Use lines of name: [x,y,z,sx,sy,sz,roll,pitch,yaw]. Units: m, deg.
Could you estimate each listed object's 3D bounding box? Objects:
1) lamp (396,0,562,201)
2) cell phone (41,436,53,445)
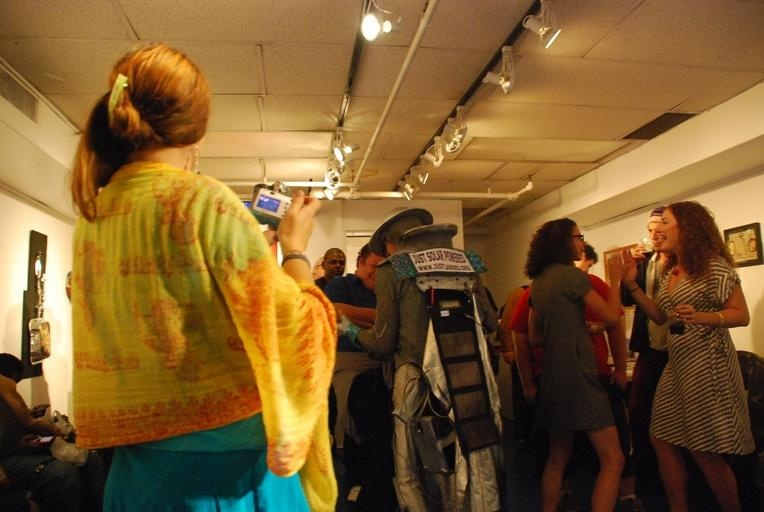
lamp: [0.931,-1.539,5.383,0.168,0.291,1.958,1,-31,-27]
cell phone: [-2.459,1.360,4.057,0.049,0.024,0.067,5,-2,-19]
